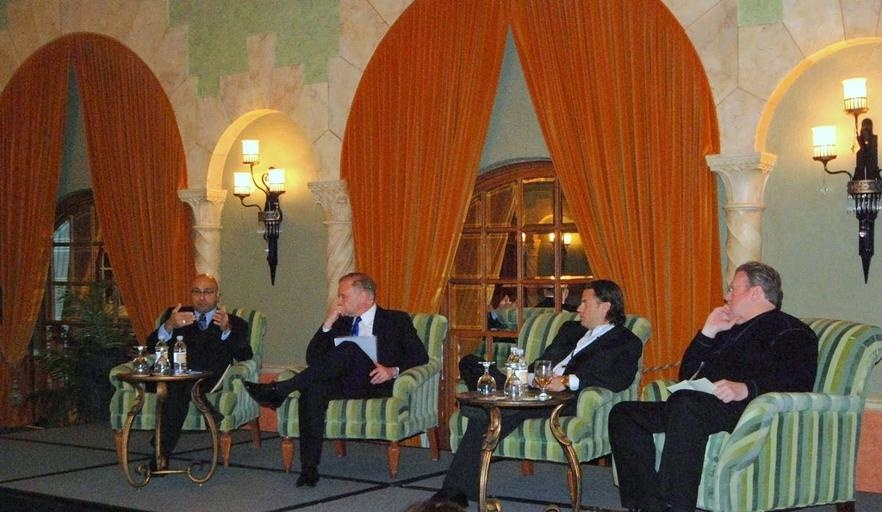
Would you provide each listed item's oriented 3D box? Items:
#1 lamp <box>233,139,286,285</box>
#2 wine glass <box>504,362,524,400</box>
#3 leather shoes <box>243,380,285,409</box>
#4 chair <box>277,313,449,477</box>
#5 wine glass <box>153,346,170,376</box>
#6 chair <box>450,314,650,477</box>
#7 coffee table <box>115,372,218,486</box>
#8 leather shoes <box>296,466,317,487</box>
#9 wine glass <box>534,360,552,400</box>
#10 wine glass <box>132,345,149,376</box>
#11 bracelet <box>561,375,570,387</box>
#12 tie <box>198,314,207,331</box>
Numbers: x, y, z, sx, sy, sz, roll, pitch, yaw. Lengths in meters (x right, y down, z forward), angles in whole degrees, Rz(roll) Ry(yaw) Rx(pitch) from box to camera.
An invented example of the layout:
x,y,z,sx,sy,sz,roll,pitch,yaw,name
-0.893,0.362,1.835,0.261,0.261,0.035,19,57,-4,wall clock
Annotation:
x,y,z,sx,sy,sz,roll,pitch,yaw,name
-2.156,-0.524,11.762,0.680,1.711,0.542,0,-4,13,lamp
0.643,1.080,8.665,0.189,0.322,0.189,0,-4,3,wine glass
-1.730,1.358,9.734,0.410,0.269,0.271,1,-4,-9,leather shoes
-0.805,1.476,10.027,1.479,1.742,1.678,-6,-15,24,chair
-2.704,1.003,9.615,0.164,0.269,0.278,3,-5,-28,wine glass
1.133,1.334,9.652,1.727,1.610,1.559,-5,-13,33,chair
-2.707,1.696,9.820,1.116,1.197,1.059,-1,-12,-1,coffee table
-1.302,2.115,9.615,0.216,0.181,0.147,1,-4,-8,leather shoes
0.886,1.078,8.732,0.150,0.338,0.328,0,-4,6,wine glass
-2.946,1.006,9.713,0.138,0.253,0.327,2,-4,-17,wine glass
1.127,1.131,9.047,0.070,0.056,0.080,5,-13,-11,bracelet
-2.538,0.690,10.487,0.126,0.128,0.033,7,-5,-28,tie
